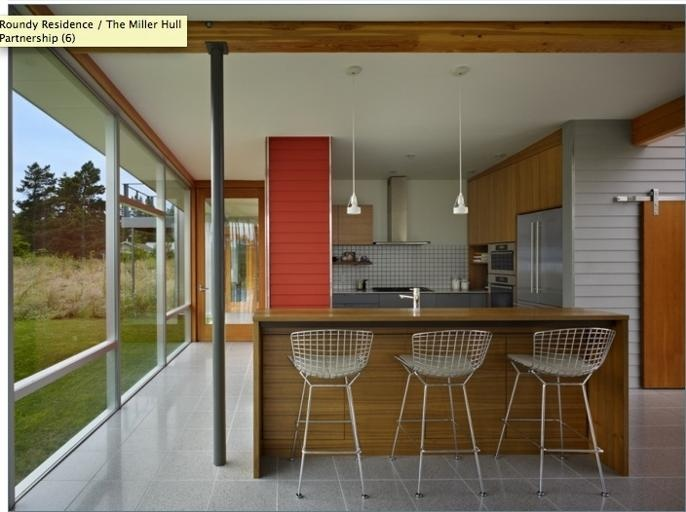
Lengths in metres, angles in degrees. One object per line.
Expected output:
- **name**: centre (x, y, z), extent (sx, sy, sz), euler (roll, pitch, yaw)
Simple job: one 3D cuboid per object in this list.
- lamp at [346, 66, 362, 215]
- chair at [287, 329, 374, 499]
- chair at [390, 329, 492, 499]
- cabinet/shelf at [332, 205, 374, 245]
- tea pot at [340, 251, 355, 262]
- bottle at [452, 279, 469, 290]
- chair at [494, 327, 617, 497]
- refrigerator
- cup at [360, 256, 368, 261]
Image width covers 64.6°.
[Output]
- **lamp**: centre (0.113, -1.212, 5.822), extent (0.259, 1.577, 0.233), euler (-1, 2, -14)
- **chair**: centre (-0.087, 1.181, 4.519), extent (0.708, 1.216, 0.869), euler (-1, 12, -6)
- **chair**: centre (0.809, 1.166, 4.577), extent (0.796, 1.221, 0.892), euler (3, 12, 13)
- **cabinet/shelf**: centre (0.180, -0.509, 8.829), extent (0.796, 0.692, 0.426), euler (-2, 3, 22)
- **tea pot**: centre (0.089, -0.003, 8.849), extent (0.224, 0.128, 0.292), euler (1, 11, 3)
- **bottle**: centre (1.866, 0.452, 8.721), extent (0.250, 0.168, 0.142), euler (2, 2, 34)
- **chair**: centre (1.816, 1.168, 4.559), extent (0.990, 1.235, 0.838), euler (1, 12, 4)
- **refrigerator**: centre (2.421, 0.010, 6.689), extent (0.522, 1.200, 1.302), euler (1, -3, -3)
- **cup**: centre (0.333, 0.026, 8.812), extent (0.113, 0.061, 0.103), euler (2, -4, -6)
